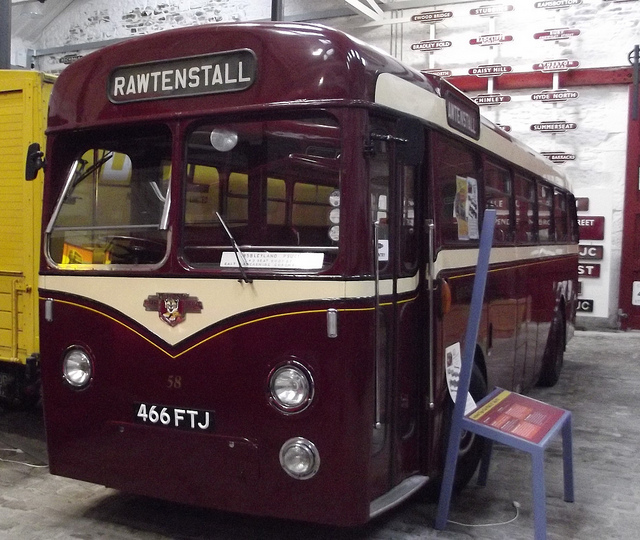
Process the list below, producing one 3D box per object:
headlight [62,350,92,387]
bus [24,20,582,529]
[{"bbox_3d":[-1.713,0.690,4.242,0.201,0.261,0.061,-6,-4,22],"label":"headlight"},{"bbox_3d":[1.233,-0.112,7.439,2.690,3.433,8.253,1,2,31],"label":"bus"}]
